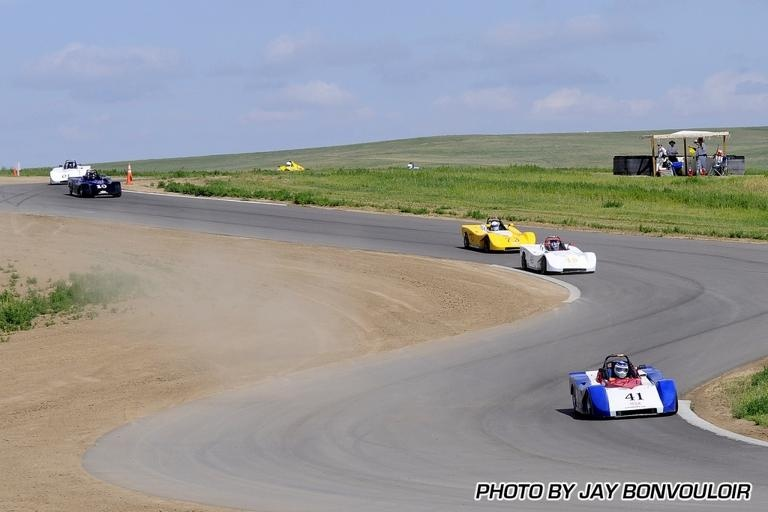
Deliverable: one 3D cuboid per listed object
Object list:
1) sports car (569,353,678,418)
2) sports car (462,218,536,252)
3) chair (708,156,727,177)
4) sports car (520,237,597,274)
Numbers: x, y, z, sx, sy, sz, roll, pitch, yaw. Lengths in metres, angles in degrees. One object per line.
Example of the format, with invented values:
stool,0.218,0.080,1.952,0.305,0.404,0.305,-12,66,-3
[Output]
sports car,5.885,3.191,20.946,2.236,1.006,3.265,-8,1,0
sports car,5.599,-1.020,40.974,2.632,1.105,3.974,-5,11,-21
chair,29.463,-7.923,74.139,1.647,2.036,1.615,1,-2,19
sports car,7.483,-0.093,36.477,2.332,1.153,3.713,-4,10,-11
